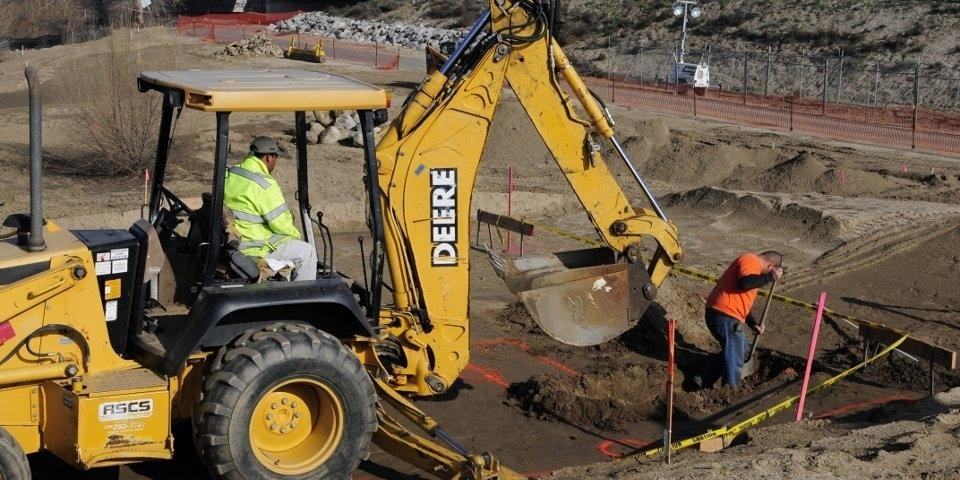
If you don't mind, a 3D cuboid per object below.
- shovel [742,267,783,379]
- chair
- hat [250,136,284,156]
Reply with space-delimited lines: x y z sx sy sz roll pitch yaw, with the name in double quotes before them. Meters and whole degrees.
"shovel" 6.960 1.505 24.272 0.413 0.299 2.922 17 28 18
"chair" -5.466 0.079 22.006 2.315 2.186 1.436 -9 14 -24
"hat" -4.614 -2.055 21.734 0.768 0.333 0.556 -4 10 -34
